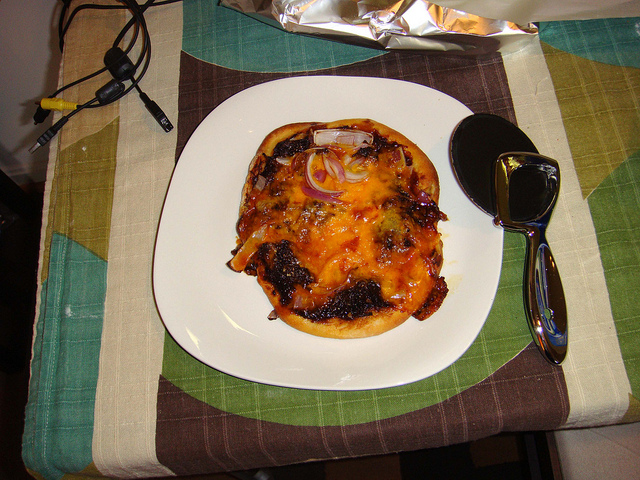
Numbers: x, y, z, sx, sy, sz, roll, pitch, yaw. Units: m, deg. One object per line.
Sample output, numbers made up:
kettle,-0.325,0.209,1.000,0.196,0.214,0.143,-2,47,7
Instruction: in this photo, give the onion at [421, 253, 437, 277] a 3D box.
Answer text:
onion,0.404,0.091,2.143,0.033,0.022,0.102,-26,86,-3

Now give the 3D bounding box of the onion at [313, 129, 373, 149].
onion,0.087,-0.396,2.209,0.183,0.026,0.099,1,83,5

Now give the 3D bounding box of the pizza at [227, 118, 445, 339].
pizza,0.064,-0.053,2.187,0.813,0.126,0.842,0,85,-1

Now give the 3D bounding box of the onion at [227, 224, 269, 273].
onion,-0.263,0.031,2.227,0.099,0.061,0.225,36,86,27

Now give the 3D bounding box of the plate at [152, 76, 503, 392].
plate,0.030,-0.054,2.187,1.298,0.139,1.201,4,84,-1

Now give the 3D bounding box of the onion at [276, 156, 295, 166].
onion,-0.140,-0.304,2.234,0.048,0.013,0.041,-14,76,-1

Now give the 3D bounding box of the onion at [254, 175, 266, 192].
onion,-0.233,-0.219,2.232,0.039,0.013,0.057,4,91,12
